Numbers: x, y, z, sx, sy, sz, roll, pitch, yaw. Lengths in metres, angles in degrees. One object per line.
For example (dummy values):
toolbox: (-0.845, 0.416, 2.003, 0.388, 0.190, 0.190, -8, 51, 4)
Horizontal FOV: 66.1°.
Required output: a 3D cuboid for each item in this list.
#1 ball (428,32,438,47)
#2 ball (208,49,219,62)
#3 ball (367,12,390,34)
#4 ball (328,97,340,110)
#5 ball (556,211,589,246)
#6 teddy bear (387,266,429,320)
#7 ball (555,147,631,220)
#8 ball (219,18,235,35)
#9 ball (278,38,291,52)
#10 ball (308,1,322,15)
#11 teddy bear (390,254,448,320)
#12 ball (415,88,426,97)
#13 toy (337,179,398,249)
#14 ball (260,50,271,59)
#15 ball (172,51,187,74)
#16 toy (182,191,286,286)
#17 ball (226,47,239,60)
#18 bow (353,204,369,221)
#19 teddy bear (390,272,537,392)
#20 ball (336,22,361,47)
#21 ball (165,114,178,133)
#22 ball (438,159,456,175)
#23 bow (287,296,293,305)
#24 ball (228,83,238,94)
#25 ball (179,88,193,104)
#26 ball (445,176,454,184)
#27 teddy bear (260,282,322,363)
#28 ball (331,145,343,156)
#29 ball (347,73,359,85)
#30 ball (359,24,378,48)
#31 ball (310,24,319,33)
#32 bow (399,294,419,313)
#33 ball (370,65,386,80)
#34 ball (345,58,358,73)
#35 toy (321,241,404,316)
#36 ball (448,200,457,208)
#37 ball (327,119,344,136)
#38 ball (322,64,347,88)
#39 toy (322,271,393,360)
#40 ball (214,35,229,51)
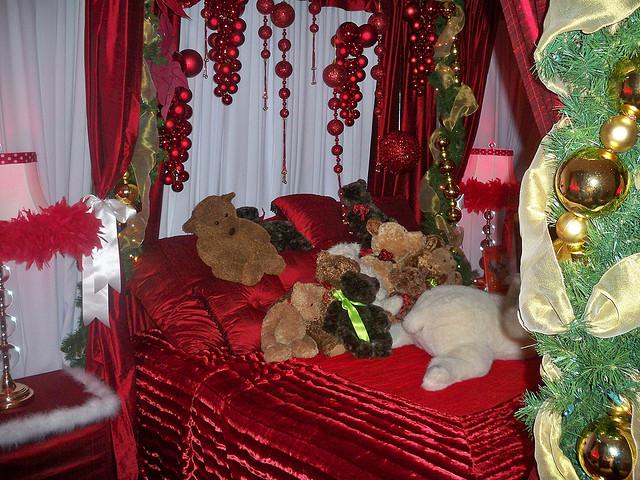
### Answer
ball: (0.746, -1.315, 3.238, 0.062, 0.077, 0.040, -7, 7, -43)
ball: (-0.591, -1.009, 2.690, 0.052, 0.063, 0.053, 3, 10, -1)
ball: (0.379, -1.377, 3.115, 0.144, 0.122, 0.160, -1, 25, 6)
ball: (0.088, -0.883, 3.179, 0.068, 0.075, 0.115, -2, 14, -1)
ball: (0.522, -0.023, 1.018, 0.062, 0.078, 0.065, -13, -8, -2)
teddy bear: (0.415, 0.252, 2.322, 0.206, 0.240, 0.157, 11, -23, -9)
ball: (0.545, -0.098, 1.053, 0.134, 0.163, 0.136, 6, -5, 1)
ball: (-0.483, -1.101, 2.534, 0.068, 0.083, 0.070, 6, 9, -1)
ball: (-0.219, -1.184, 2.984, 0.077, 0.078, 0.135, -3, 14, -3)
ball: (-0.035, -1.420, 3.033, 0.081, 0.083, 0.039, 15, 0, -22)
teddy bear: (0.425, 0.235, 2.403, 0.240, 0.142, 0.304, -35, 11, -39)
ball: (0.699, -1.033, 3.424, 0.052, 0.055, 0.063, -11, 25, -12)
toy: (0.281, -0.126, 2.771, 0.392, 0.412, 0.187, 8, 28, -6)
ball: (-0.327, -1.109, 2.938, 0.054, 0.051, 0.064, -4, 14, -9)
ball: (-0.665, -0.851, 2.333, 0.076, 0.091, 0.075, -20, -15, -6)
toy: (-0.457, 0.023, 2.373, 0.352, 0.498, 0.451, 21, -34, -8)
ball: (-0.465, -0.997, 2.653, 0.061, 0.065, 0.073, 1, 2, 11)
bow: (0.224, -0.152, 2.679, 0.092, 0.080, 0.061, -3, 14, -5)
teddy bear: (0.724, 0.350, 2.210, 0.829, 0.364, 0.512, -3, 15, -24)
ball: (0.170, -1.190, 2.885, 0.132, 0.156, 0.129, -3, 15, 1)
ball: (-0.711, -0.549, 2.333, 0.068, 0.084, 0.067, -4, 17, 1)
ball: (0.885, -0.508, 3.419, 0.100, 0.106, 0.101, -8, 13, 2)
bow: (-0.140, 0.271, 2.198, 0.025, 0.027, 0.019, 37, 35, 31)
ball: (-0.493, -0.855, 2.774, 0.044, 0.045, 0.051, 30, 11, -21)
ball: (-0.649, -0.698, 2.388, 0.036, 0.072, 0.112, -1, 14, 4)
ball: (0.913, -0.423, 3.461, 0.047, 0.059, 0.049, 5, 0, 0)
teddy bear: (-0.122, 0.318, 2.119, 0.228, 0.360, 0.304, 2, 52, -10)
ball: (0.111, -0.603, 3.304, 0.074, 0.075, 0.128, -2, 14, 0)
ball: (0.210, -0.998, 3.046, 0.081, 0.065, 0.040, -8, 15, -24)
ball: (0.296, -1.246, 2.979, 0.097, 0.144, 0.201, 1, 14, 11)
ball: (-0.037, -1.325, 3.079, 0.050, 0.054, 0.052, 3, 3, 0)
bow: (0.428, 0.293, 2.360, 0.066, 0.093, 0.036, 5, 9, -12)
ball: (0.401, -1.141, 3.339, 0.073, 0.096, 0.171, 6, 16, 29)
ball: (0.188, -1.056, 2.975, 0.067, 0.085, 0.069, 6, 8, -1)
toy: (0.191, 0.190, 2.393, 0.345, 0.103, 0.338, 29, 23, -38)
ball: (0.937, -0.258, 3.474, 0.047, 0.054, 0.078, -2, 14, 2)
ball: (0.096, -0.733, 3.206, 0.095, 0.105, 0.108, -3, 14, -4)
ball: (0.073, -0.968, 2.938, 0.126, 0.130, 0.150, -8, -29, -6)
toy: (0.151, 0.312, 2.229, 0.298, 0.407, 0.350, -3, 9, -30)
ball: (-0.517, -1.031, 2.570, 0.062, 0.063, 0.070, 29, 1, -40)
